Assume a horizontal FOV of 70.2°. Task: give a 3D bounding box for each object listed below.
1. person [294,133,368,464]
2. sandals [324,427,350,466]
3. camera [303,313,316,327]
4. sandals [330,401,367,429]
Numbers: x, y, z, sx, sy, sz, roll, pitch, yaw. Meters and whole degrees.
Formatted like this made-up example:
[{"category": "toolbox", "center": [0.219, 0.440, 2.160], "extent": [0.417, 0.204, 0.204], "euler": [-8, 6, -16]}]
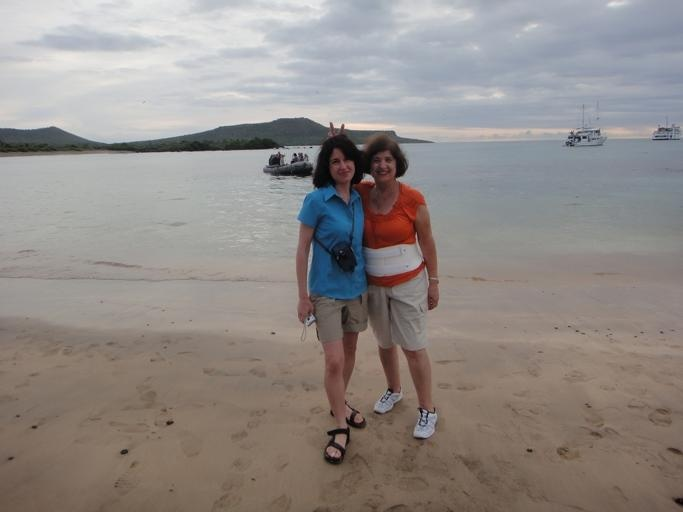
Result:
[{"category": "person", "center": [-0.096, 0.359, 4.580], "extent": [0.610, 2.931, 0.904], "euler": [3, 13, 15]}, {"category": "sandals", "center": [-0.043, 1.736, 4.566], "extent": [0.237, 0.251, 0.320], "euler": [0, 12, 3]}, {"category": "camera", "center": [-0.275, 0.594, 4.542], "extent": [0.095, 0.047, 0.134], "euler": [-22, 10, 41]}, {"category": "sandals", "center": [0.071, 1.596, 5.012], "extent": [0.176, 0.127, 0.439], "euler": [-8, 10, -34]}]
